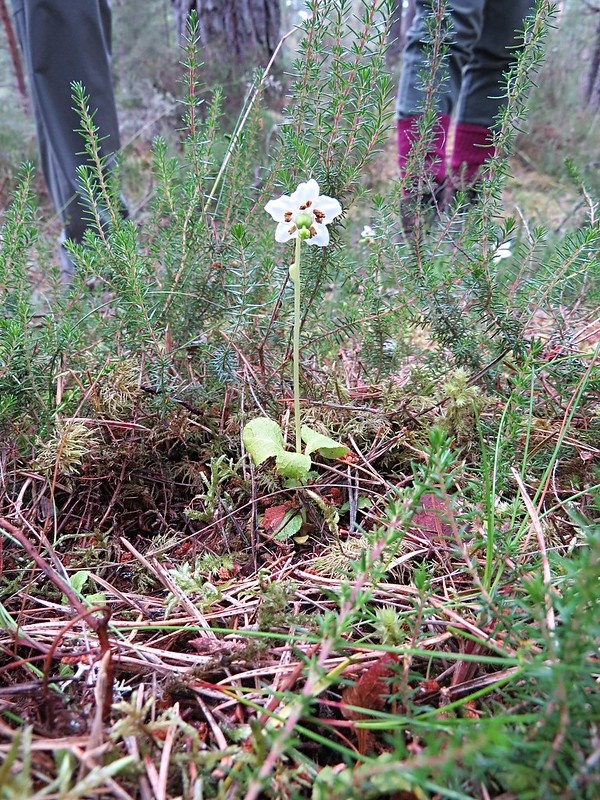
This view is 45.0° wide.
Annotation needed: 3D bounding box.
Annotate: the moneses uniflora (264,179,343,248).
[{"bbox_3d":[0.017,-0.488,2.011,0.194,0.233,0.143,-19,44,-20],"label":"moneses uniflora"}]
